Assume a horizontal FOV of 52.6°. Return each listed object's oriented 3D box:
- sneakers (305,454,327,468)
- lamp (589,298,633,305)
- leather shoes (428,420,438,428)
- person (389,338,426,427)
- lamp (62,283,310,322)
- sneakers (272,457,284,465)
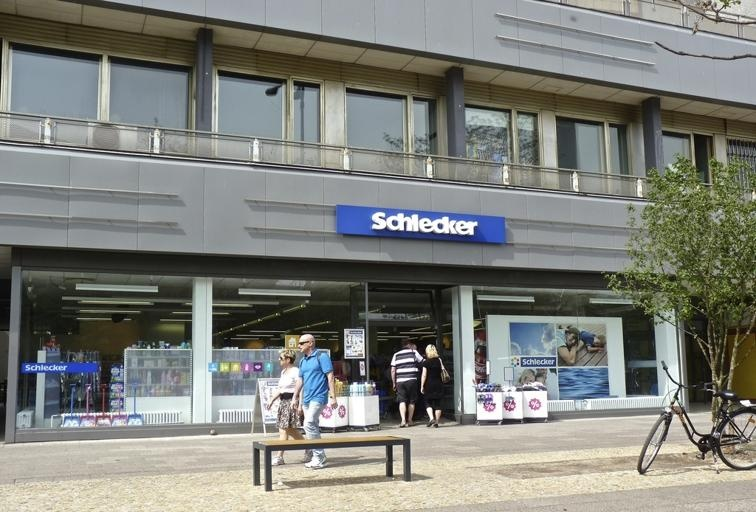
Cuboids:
[{"bbox_3d":[-1.109,3.915,14.612,0.203,0.204,0.445,-13,-20,43],"label":"sneakers"},{"bbox_3d":[7.366,1.420,24.135,1.558,0.230,0.121,2,2,-19],"label":"lamp"},{"bbox_3d":[1.539,4.583,20.995,0.280,0.195,0.328,-4,-9,11],"label":"leather shoes"},{"bbox_3d":[0.898,3.502,21.241,0.894,2.388,0.651,-3,-9,2],"label":"person"},{"bbox_3d":[-5.270,1.186,20.050,4.916,0.785,0.231,2,4,-21],"label":"lamp"},{"bbox_3d":[-1.950,4.039,15.111,0.210,0.090,0.102,3,-4,-9],"label":"sneakers"}]
